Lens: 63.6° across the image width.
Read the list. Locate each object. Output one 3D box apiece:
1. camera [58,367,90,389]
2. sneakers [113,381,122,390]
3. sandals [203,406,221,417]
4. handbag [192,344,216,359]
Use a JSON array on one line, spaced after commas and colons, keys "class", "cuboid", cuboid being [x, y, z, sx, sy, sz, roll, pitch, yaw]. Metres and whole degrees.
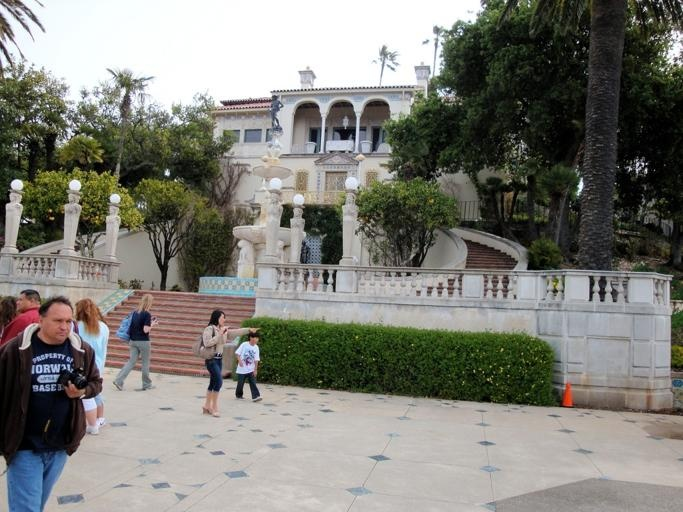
[{"class": "camera", "cuboid": [-2.753, 1.229, 5.653, 0.219, 0.155, 0.207, 1, -3, 36]}, {"class": "sneakers", "cuboid": [-4.866, 2.797, 11.979, 0.153, 0.128, 0.346, 17, 9, -28]}, {"class": "sandals", "cuboid": [-2.444, 2.950, 10.396, 0.368, 0.155, 0.137, -7, -9, 32]}, {"class": "handbag", "cuboid": [-2.541, 1.785, 10.294, 0.391, 0.424, 0.216, -1, -21, 4]}]
